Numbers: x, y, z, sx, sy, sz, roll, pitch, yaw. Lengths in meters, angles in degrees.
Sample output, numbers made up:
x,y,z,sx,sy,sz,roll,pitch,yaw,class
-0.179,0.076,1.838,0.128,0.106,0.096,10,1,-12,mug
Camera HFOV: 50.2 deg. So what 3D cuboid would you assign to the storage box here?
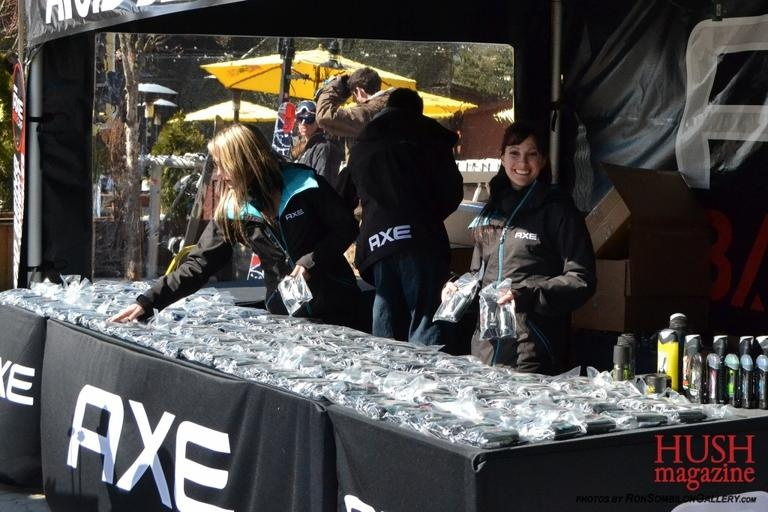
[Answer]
x,y,z,sx,sy,sz,roll,pitch,yaw,class
1.695,-0.055,5.980,1.015,1.383,1.033,2,4,-20,storage box
